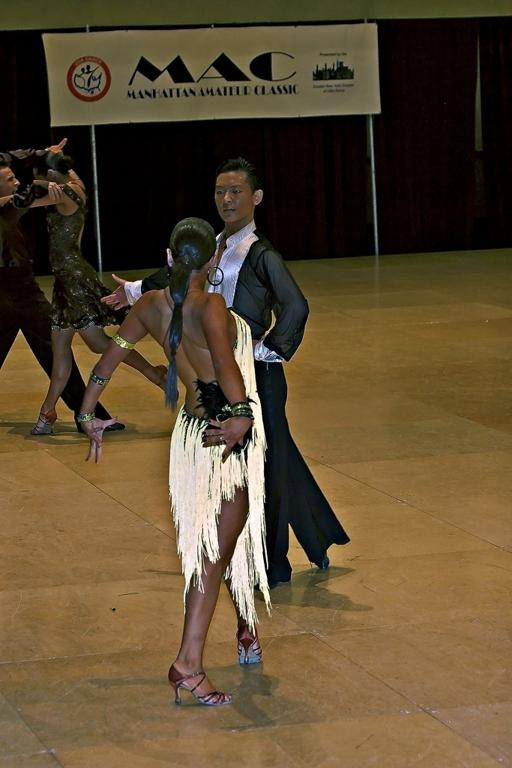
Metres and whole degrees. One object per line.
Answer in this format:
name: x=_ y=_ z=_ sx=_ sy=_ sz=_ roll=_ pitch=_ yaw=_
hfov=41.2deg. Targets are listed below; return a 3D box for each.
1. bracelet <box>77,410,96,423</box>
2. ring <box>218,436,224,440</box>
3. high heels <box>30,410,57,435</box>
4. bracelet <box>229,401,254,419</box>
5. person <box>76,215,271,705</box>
bracelet: x=-0.491 y=0.091 z=1.983 sx=0.044 sy=0.028 sz=0.053 roll=-1 pitch=2 yaw=-4
ring: x=-0.078 y=0.126 z=1.585 sx=0.008 sy=0.010 sz=0.004 roll=9 pitch=22 yaw=35
high heels: x=-1.607 y=0.292 z=5.176 sx=0.175 sy=0.153 sz=0.190 roll=-1 pitch=0 yaw=-19
bracelet: x=-0.034 y=0.058 z=1.511 sx=0.042 sy=0.034 sz=0.041 roll=4 pitch=-9 yaw=10
person: x=-0.168 y=0.196 z=1.740 sx=0.522 sy=1.223 sz=0.590 roll=-2 pitch=1 yaw=-13
